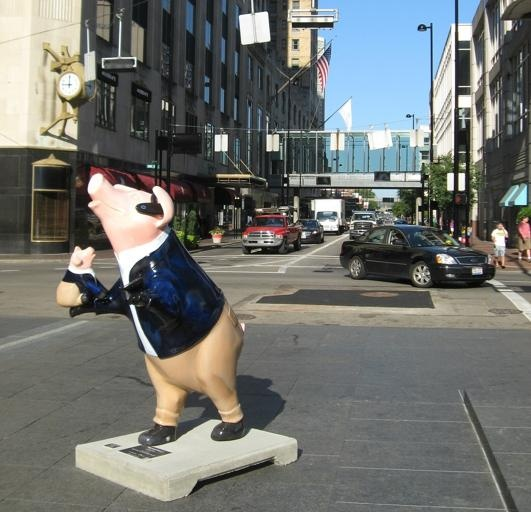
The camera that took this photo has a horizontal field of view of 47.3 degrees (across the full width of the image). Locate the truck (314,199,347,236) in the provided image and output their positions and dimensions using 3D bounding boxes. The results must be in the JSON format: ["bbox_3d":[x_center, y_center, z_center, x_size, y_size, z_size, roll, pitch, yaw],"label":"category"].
[{"bbox_3d":[6.339,-3.929,60.374,2.052,2.635,4.860,-1,1,8],"label":"truck"}]

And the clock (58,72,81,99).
[{"bbox_3d":[-8.518,-7.398,26.336,1.031,1.301,0.234,1,2,1],"label":"clock"}]

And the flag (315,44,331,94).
[{"bbox_3d":[5.097,-16.988,53.566,1.358,0.326,4.386,-8,-28,2],"label":"flag"}]

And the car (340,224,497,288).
[{"bbox_3d":[4.243,0.075,17.208,1.840,1.373,3.733,2,-3,-32],"label":"car"}]
